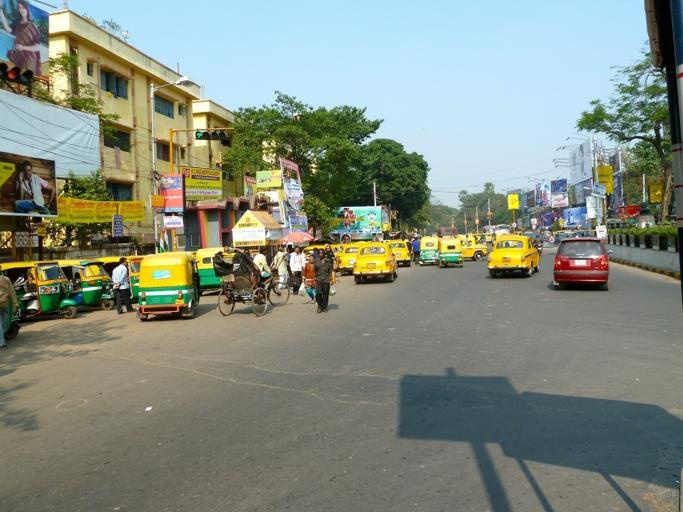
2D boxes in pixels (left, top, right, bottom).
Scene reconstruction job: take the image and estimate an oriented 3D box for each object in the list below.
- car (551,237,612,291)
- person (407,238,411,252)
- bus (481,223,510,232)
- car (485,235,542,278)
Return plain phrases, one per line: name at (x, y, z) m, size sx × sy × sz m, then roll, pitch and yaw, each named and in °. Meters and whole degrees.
car at (7.960, 0.259, 19.721) m, size 1.180 × 0.990 × 2.256 m, roll 0°, pitch 7°, yaw 16°
person at (5.162, -0.808, 45.699) m, size 0.603 × 1.007 × 0.257 m, roll 3°, pitch 5°, yaw 4°
bus at (22.587, -3.895, 87.713) m, size 3.202 × 1.029 × 30.790 m, roll -4°, pitch 2°, yaw 14°
car at (7.676, 0.045, 26.820) m, size 1.597 × 1.896 × 3.183 m, roll -3°, pitch 3°, yaw 29°
